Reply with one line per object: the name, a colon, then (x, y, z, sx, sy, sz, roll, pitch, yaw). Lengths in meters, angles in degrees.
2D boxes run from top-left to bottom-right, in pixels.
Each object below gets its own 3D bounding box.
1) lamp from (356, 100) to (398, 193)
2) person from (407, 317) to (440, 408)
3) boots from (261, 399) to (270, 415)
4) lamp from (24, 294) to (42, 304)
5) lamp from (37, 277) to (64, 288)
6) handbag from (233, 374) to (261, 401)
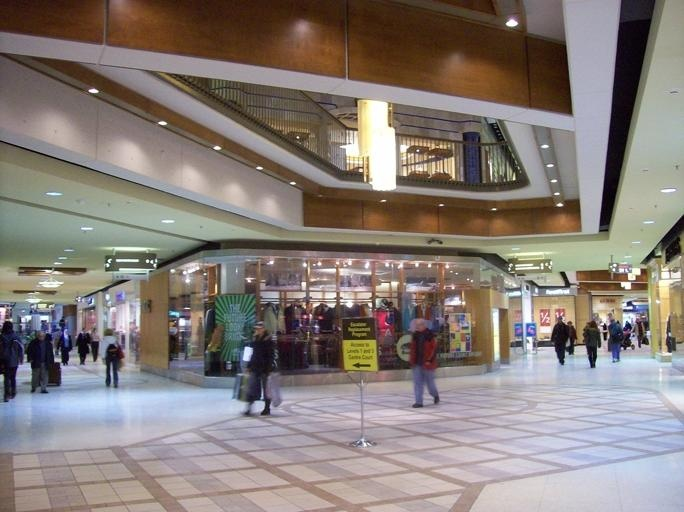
lamp: (0.524, -1.723, 7.862, 0.553, 1.623, 0.769, -3, -6, 4)
person: (1.791, 2.308, 11.470, 0.589, 1.875, 0.941, -3, -6, 9)
boots: (-1.576, 3.072, 10.714, 0.185, 0.295, 0.494, -1, -6, -10)
lamp: (-22.112, 2.989, 37.309, 1.358, 0.443, 1.363, -4, -10, 16)
lamp: (-14.034, 1.289, 25.101, 1.189, 0.381, 1.164, 1, -3, -25)
handbag: (-1.984, 2.749, 10.944, 0.453, 0.729, 0.775, -1, -2, -21)
